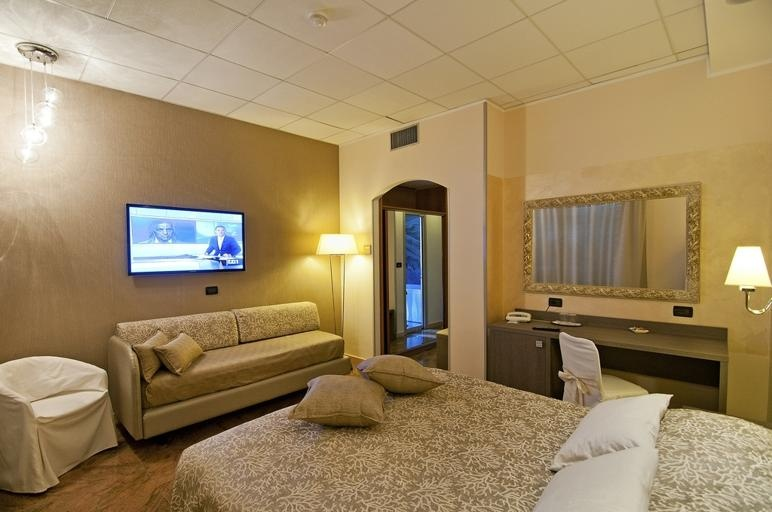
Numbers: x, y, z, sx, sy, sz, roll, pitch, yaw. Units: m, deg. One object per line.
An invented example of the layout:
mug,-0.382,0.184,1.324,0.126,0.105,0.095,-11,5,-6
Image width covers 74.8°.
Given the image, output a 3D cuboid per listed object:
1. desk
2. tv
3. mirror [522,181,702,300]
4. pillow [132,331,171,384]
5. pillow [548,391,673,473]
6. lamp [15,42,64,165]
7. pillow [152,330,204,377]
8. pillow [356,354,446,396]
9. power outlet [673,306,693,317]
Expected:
desk,2.566,1.196,5.128,1.710,1.016,0.686,0,13,39
tv,-2.243,-0.171,5.757,1.296,0.771,0.016,0,2,-36
mirror,2.444,-0.163,5.304,1.355,0.914,0.039,0,0,36
pillow,-2.317,1.011,4.991,0.140,0.343,0.466,-24,8,9
pillow,1.558,1.223,3.559,0.731,0.195,0.524,-10,-13,-45
lamp,-3.344,-1.443,4.870,0.349,1.048,0.474,-3,3,-35
pillow,-2.160,0.995,5.306,0.311,0.279,0.681,1,5,-3
pillow,0.099,1.087,4.554,0.750,0.297,0.757,5,-13,13
power outlet,2.946,0.553,5.009,0.180,0.114,0.018,0,2,23
